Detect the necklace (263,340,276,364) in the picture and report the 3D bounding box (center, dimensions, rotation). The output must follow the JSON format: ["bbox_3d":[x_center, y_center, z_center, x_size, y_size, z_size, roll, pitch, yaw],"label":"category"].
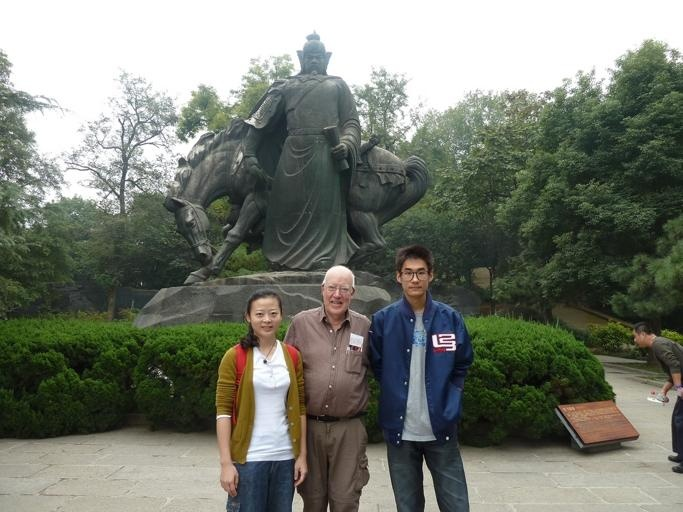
[{"bbox_3d":[-0.587,0.769,4.198,0.116,0.172,0.062,1,-14,4],"label":"necklace"}]
